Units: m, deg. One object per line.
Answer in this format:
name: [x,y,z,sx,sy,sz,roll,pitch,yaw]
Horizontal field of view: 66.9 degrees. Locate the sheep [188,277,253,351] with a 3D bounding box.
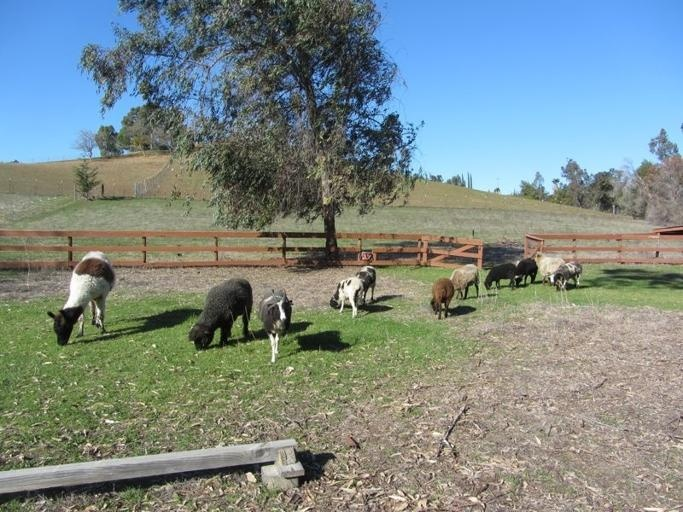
sheep: [-2.727,1.289,11.901,0.566,1.482,1.571,4,5,38]

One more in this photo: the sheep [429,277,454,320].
sheep: [2.804,1.121,14.458,0.570,1.079,1.219,2,4,11]
